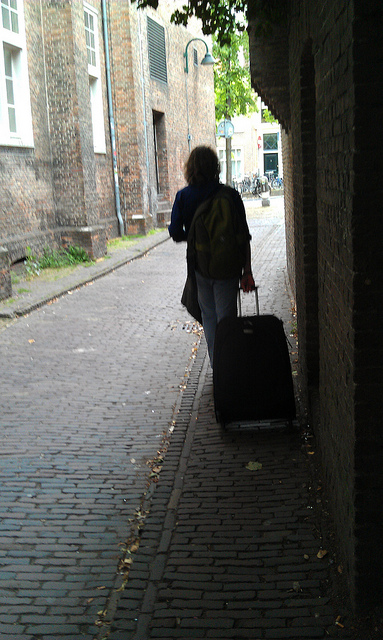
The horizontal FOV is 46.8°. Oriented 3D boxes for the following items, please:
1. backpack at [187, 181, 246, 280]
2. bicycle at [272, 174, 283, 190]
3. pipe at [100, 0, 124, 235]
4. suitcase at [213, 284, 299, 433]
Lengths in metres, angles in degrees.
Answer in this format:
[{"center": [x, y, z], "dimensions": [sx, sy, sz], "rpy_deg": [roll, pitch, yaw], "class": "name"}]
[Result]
[{"center": [0.232, -0.826, 3.754], "dimensions": [0.419, 0.767, 0.451], "rpy_deg": [-12, 47, -1], "class": "backpack"}, {"center": [8.339, -13.304, 43.193], "dimensions": [0.836, 1.222, 1.465], "rpy_deg": [-3, 7, 5], "class": "bicycle"}, {"center": [-3.073, -7.985, 17.281], "dimensions": [0.309, 8.449, 1.868], "rpy_deg": [-3, 5, -7], "class": "pipe"}, {"center": [0.500, 0.300, 3.692], "dimensions": [0.523, 0.544, 1.458], "rpy_deg": [-5, 59, 8], "class": "suitcase"}]
